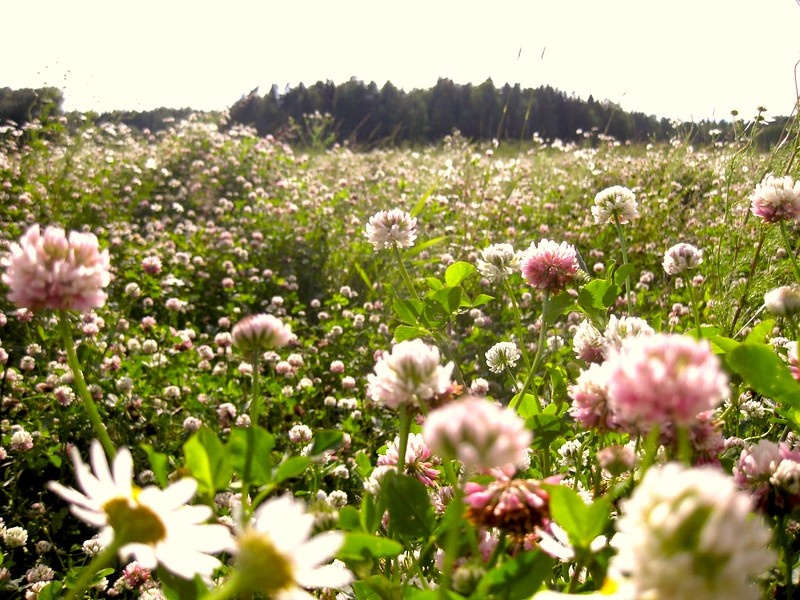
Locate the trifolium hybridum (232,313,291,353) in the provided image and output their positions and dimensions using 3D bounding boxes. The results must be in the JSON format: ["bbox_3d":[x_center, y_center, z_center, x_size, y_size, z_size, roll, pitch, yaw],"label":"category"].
[{"bbox_3d":[-0.372,0.092,1.785,0.143,0.138,0.134,0,14,-17],"label":"trifolium hybridum"}]

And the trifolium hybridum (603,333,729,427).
[{"bbox_3d":[0.488,0.120,1.225,0.177,0.178,0.191,4,19,41],"label":"trifolium hybridum"}]

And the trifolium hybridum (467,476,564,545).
[{"bbox_3d":[0.235,0.436,1.437,0.146,0.087,0.140,-15,27,-40],"label":"trifolium hybridum"}]

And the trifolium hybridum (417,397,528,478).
[{"bbox_3d":[0.119,0.235,1.258,0.139,0.142,0.148,6,-2,-20],"label":"trifolium hybridum"}]

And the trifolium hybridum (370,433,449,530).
[{"bbox_3d":[0.007,0.487,2.017,0.240,0.296,0.194,-3,47,1],"label":"trifolium hybridum"}]
